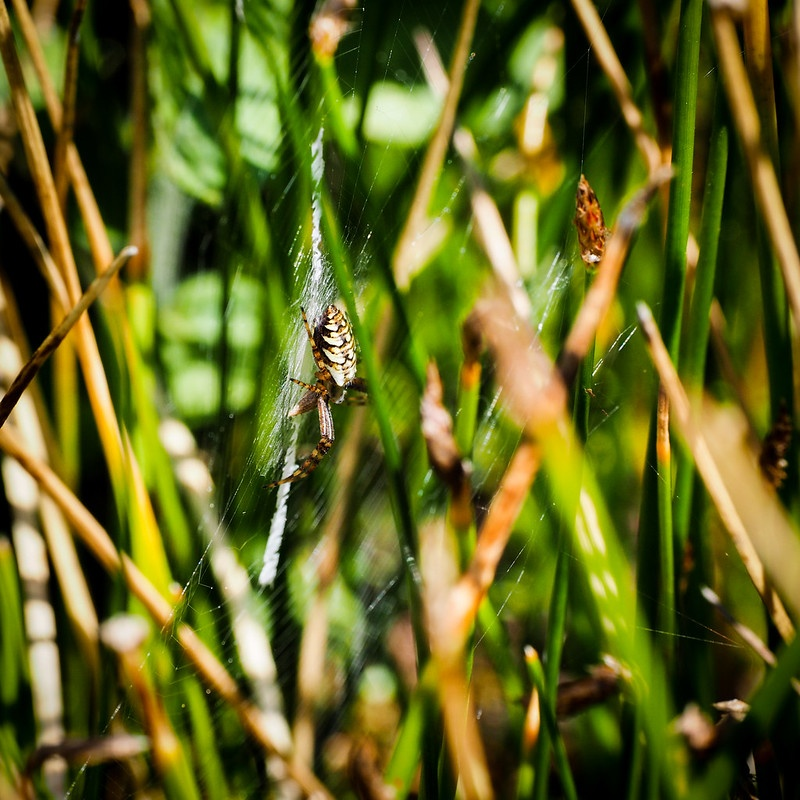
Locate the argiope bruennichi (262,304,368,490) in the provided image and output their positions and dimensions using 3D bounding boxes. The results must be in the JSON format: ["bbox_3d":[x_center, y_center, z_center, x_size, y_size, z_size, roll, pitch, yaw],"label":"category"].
[{"bbox_3d":[-0.095,-0.024,1.117,0.052,0.220,0.091,31,26,36],"label":"argiope bruennichi"}]
